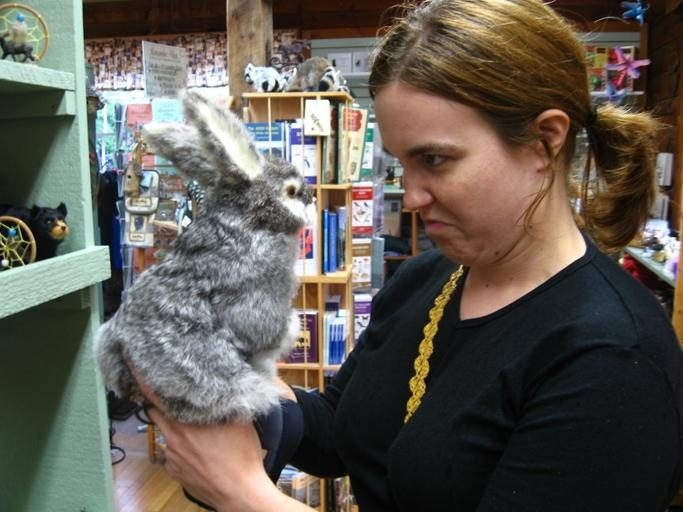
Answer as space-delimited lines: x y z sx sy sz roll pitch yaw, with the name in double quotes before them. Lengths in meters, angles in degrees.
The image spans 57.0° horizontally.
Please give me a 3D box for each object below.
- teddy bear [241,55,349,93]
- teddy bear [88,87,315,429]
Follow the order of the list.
"teddy bear" -0.242 -0.907 3.242 0.392 0.141 0.281 2 14 14
"teddy bear" -0.309 0.009 1.533 0.562 0.745 0.429 -8 20 -34
